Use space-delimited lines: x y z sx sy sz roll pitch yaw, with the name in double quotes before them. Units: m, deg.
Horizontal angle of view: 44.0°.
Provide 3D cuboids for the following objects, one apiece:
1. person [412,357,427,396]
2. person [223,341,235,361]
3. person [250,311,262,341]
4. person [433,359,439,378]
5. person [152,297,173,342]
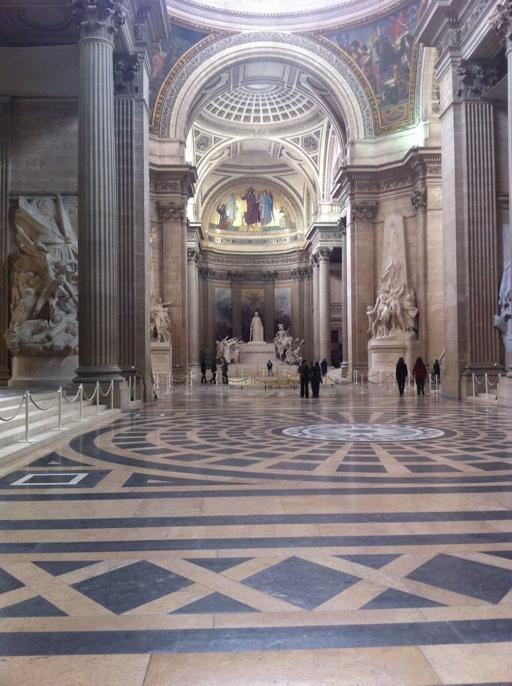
"person" 4.412 0.868 17.043 0.268 1.012 1.090 0 -1 14
"person" -1.462 0.484 36.692 0.631 1.221 1.306 0 -1 0
"person" 0.118 -1.004 40.369 0.653 1.700 1.138 0 -1 -8
"person" 5.959 0.884 20.910 0.238 0.698 1.449 0 -1 16
"person" -3.784 -0.907 25.164 0.708 1.704 0.784 0 -1 -12
